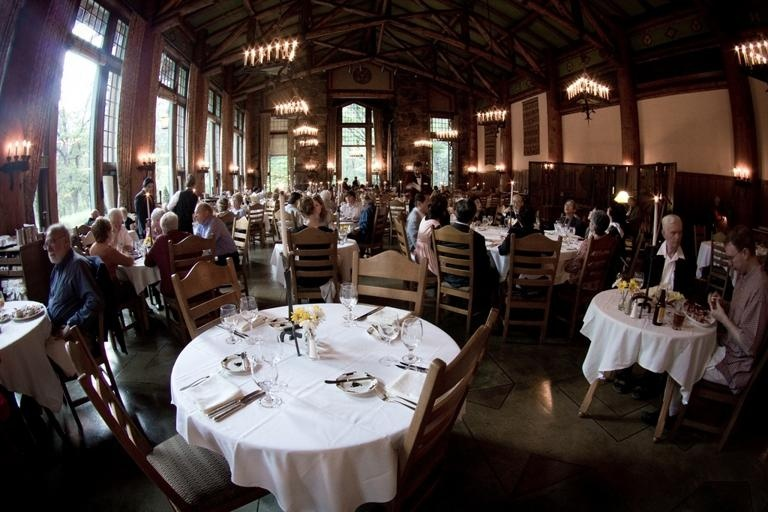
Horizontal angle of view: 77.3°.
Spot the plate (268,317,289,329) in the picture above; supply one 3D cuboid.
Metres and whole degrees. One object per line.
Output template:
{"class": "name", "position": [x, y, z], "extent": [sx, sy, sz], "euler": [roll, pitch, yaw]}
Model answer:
{"class": "plate", "position": [-0.905, 0.579, 4.151], "extent": [0.100, 0.024, 0.109], "euler": [5, 19, 0]}

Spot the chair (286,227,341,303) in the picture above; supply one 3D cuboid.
{"class": "chair", "position": [-0.847, 0.123, 5.909], "extent": [0.682, 1.296, 0.841], "euler": [-1, 20, -7]}

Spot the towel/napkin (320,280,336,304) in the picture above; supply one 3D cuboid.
{"class": "towel/napkin", "position": [-0.710, 0.430, 6.035], "extent": [0.225, 0.324, 0.085], "euler": [4, 8, -10]}

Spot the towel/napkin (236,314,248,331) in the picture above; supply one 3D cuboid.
{"class": "towel/napkin", "position": [-1.197, 0.561, 4.068], "extent": [0.105, 0.030, 0.114], "euler": [-9, 23, -34]}

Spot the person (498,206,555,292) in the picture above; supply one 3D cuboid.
{"class": "person", "position": [1.771, -0.046, 6.259], "extent": [0.588, 1.227, 0.384], "euler": [7, 27, 14]}

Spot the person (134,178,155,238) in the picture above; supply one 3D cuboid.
{"class": "person", "position": [-4.327, -0.773, 8.633], "extent": [0.283, 1.281, 0.453], "euler": [3, 23, -24]}

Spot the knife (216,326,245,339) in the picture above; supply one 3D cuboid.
{"class": "knife", "position": [-1.283, 0.646, 4.048], "extent": [0.329, 0.049, 0.018], "euler": [14, 43, 36]}

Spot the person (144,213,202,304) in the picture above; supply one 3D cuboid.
{"class": "person", "position": [-2.747, 0.141, 6.194], "extent": [0.440, 1.600, 0.654], "euler": [20, 24, 18]}

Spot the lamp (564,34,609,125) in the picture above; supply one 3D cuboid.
{"class": "lamp", "position": [3.966, -3.307, 9.376], "extent": [0.629, 1.130, 0.693], "euler": [-1, 2, -7]}

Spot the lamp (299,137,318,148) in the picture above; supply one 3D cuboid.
{"class": "lamp", "position": [-2.874, -4.317, 17.953], "extent": [0.607, 0.260, 0.660], "euler": [-1, 8, 10]}

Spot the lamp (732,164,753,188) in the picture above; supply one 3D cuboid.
{"class": "lamp", "position": [7.001, -1.581, 9.377], "extent": [0.167, 0.487, 0.457], "euler": [0, -1, -14]}

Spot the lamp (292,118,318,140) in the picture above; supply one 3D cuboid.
{"class": "lamp", "position": [-2.959, -4.866, 18.169], "extent": [0.890, 1.065, 0.969], "euler": [3, 18, 3]}

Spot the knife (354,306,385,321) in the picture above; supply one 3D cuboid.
{"class": "knife", "position": [-0.132, 0.519, 4.319], "extent": [0.040, 0.036, 0.278], "euler": [33, 34, 24]}

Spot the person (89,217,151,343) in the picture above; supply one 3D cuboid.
{"class": "person", "position": [-3.237, 0.239, 5.958], "extent": [0.595, 1.452, 0.592], "euler": [-1, 14, -3]}

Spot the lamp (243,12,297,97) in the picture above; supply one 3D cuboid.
{"class": "lamp", "position": [-2.339, -4.354, 9.844], "extent": [0.963, 1.457, 0.750], "euler": [-5, -4, 15]}

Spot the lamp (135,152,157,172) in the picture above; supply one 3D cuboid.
{"class": "lamp", "position": [-5.065, -2.048, 10.292], "extent": [0.310, 0.374, 0.338], "euler": [2, 10, 4]}

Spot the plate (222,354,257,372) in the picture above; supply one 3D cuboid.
{"class": "plate", "position": [-1.140, 0.830, 3.726], "extent": [0.191, 0.076, 0.204], "euler": [-6, 27, -16]}

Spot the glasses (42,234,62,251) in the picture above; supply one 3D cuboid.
{"class": "glasses", "position": [-3.303, -0.132, 4.833], "extent": [0.164, 0.245, 0.112], "euler": [0, 6, 6]}

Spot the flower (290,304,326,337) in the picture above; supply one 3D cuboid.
{"class": "flower", "position": [-0.620, 0.472, 3.879], "extent": [0.243, 0.283, 0.263], "euler": [0, 7, 10]}

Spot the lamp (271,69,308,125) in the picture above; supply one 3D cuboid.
{"class": "lamp", "position": [-2.541, -4.511, 13.240], "extent": [0.962, 1.161, 1.023], "euler": [-5, 15, -9]}

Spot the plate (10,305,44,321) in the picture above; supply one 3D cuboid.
{"class": "plate", "position": [-3.351, 0.533, 4.534], "extent": [0.165, 0.039, 0.177], "euler": [3, 14, -8]}

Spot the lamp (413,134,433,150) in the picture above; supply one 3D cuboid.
{"class": "lamp", "position": [1.596, -4.648, 19.424], "extent": [0.775, 0.493, 0.766], "euler": [-2, 9, -7]}

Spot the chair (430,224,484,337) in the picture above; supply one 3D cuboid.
{"class": "chair", "position": [1.031, 0.229, 6.300], "extent": [0.833, 1.432, 0.958], "euler": [-5, 18, -4]}

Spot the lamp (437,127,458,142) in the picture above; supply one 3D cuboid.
{"class": "lamp", "position": [2.362, -4.523, 17.764], "extent": [0.785, 0.482, 1.644], "euler": [1, 10, 13]}

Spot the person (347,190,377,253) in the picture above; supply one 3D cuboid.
{"class": "person", "position": [-0.427, -0.639, 9.376], "extent": [0.525, 1.240, 1.130], "euler": [-1, 9, -4]}

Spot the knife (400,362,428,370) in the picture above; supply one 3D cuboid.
{"class": "knife", "position": [0.229, 0.848, 3.702], "extent": [0.198, 0.054, 0.030], "euler": [1, 16, 21]}

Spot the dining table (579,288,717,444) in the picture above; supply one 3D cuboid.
{"class": "dining table", "position": [2.494, 1.211, 4.782], "extent": [1.060, 1.034, 1.117], "euler": [8, 4, -32]}
